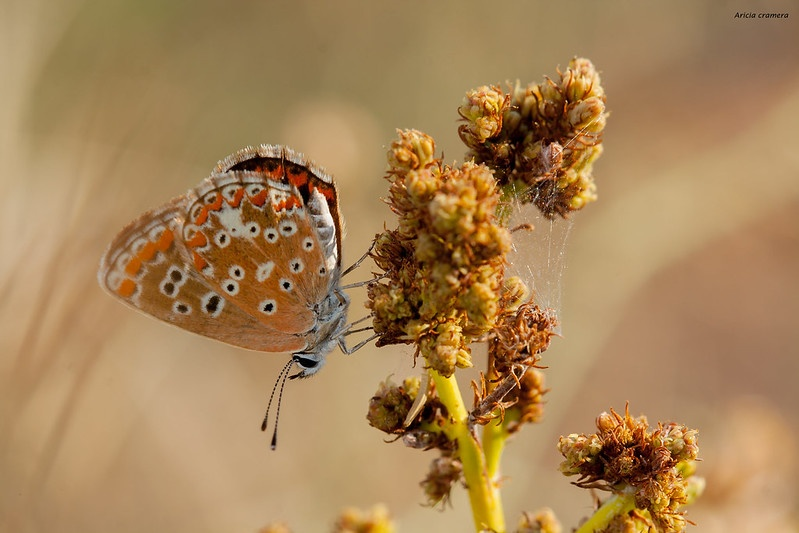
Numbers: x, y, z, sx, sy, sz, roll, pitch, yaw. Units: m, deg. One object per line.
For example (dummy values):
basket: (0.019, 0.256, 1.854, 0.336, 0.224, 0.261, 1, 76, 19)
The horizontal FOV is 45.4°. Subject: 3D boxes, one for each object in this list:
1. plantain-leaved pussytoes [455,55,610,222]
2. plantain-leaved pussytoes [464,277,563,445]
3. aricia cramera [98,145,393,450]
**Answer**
plantain-leaved pussytoes: (1.101, -1.046, 8.114, 1.133, 2.158, 1.217, -7, 10, -18)
plantain-leaved pussytoes: (0.902, 0.642, 7.730, 0.510, 1.531, 0.476, -2, 2, -2)
aricia cramera: (-1.450, -0.083, 8.696, 2.082, 1.875, 0.819, 7, -14, 4)
